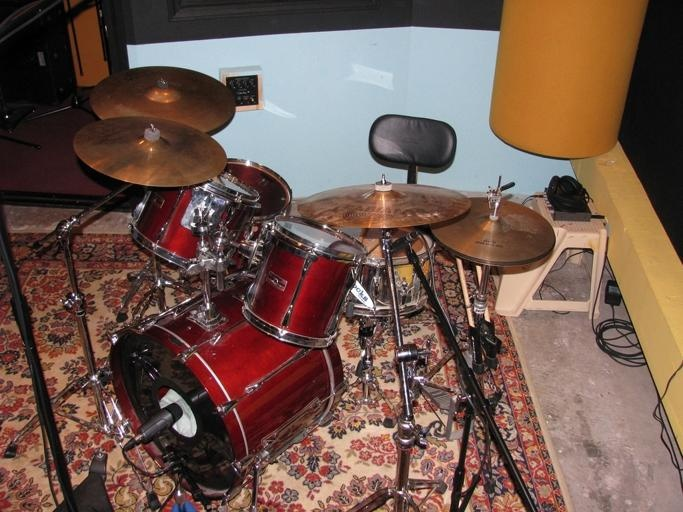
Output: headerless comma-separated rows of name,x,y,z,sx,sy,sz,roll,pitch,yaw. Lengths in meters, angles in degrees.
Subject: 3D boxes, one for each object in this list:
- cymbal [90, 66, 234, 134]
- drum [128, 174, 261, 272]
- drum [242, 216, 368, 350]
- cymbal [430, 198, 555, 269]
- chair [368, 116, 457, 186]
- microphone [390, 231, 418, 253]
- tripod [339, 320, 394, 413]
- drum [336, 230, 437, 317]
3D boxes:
cymbal,-0.918,-0.812,2.898,0.526,0.122,0.521,-15,59,-36
drum,-0.675,-0.126,2.572,0.490,0.335,0.467,25,38,-22
drum,-0.175,0.098,2.357,0.391,0.476,0.483,27,44,30
cymbal,0.784,-0.130,2.718,0.433,0.103,0.433,-13,44,-16
chair,0.436,-0.693,3.605,0.587,0.438,0.637,9,12,13
microphone,0.256,-0.055,2.203,0.076,0.070,0.053,-25,65,-27
tripod,0.143,0.616,2.952,0.345,0.476,0.342,4,45,5
drum,0.212,0.100,2.569,0.407,0.251,0.399,-1,43,1
